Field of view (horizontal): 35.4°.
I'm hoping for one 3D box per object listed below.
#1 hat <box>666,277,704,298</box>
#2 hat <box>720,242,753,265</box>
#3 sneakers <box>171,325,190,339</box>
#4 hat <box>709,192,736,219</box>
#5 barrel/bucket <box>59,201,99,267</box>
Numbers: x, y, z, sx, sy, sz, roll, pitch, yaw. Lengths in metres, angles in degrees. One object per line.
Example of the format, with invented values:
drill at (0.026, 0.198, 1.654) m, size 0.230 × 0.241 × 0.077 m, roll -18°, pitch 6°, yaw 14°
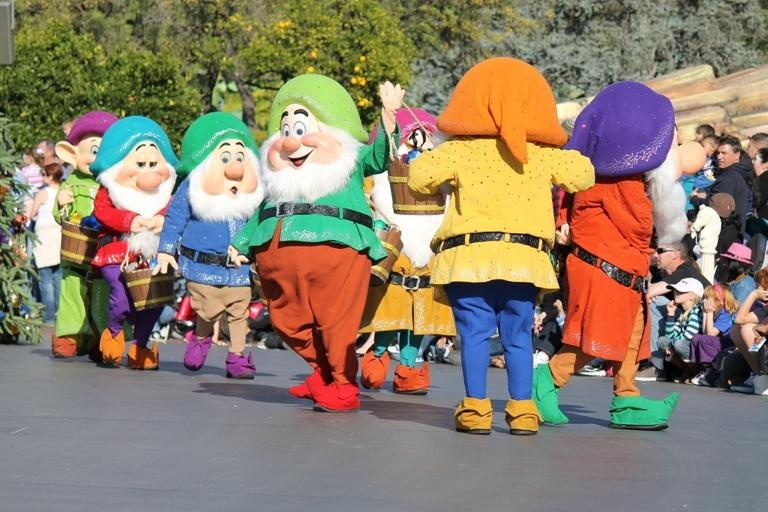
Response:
hat at (3.128, 0.323, 12.286) m, size 0.248 × 0.137 × 0.176 m, roll 7°, pitch -2°, yaw 0°
hat at (3.824, 0.004, 12.970) m, size 0.242 × 0.102 × 0.240 m, roll 23°, pitch 1°, yaw -11°
sneakers at (-2.414, 0.894, 14.259) m, size 0.186 × 0.134 × 0.177 m, roll -2°, pitch -3°, yaw 24°
hat at (3.781, -0.588, 13.399) m, size 0.281 × 0.272 × 0.222 m, roll -25°, pitch 51°, yaw -28°
barrel/bucket at (-3.134, -0.114, 12.311) m, size 0.444 × 0.367 × 0.437 m, roll 12°, pitch -4°, yaw 1°
